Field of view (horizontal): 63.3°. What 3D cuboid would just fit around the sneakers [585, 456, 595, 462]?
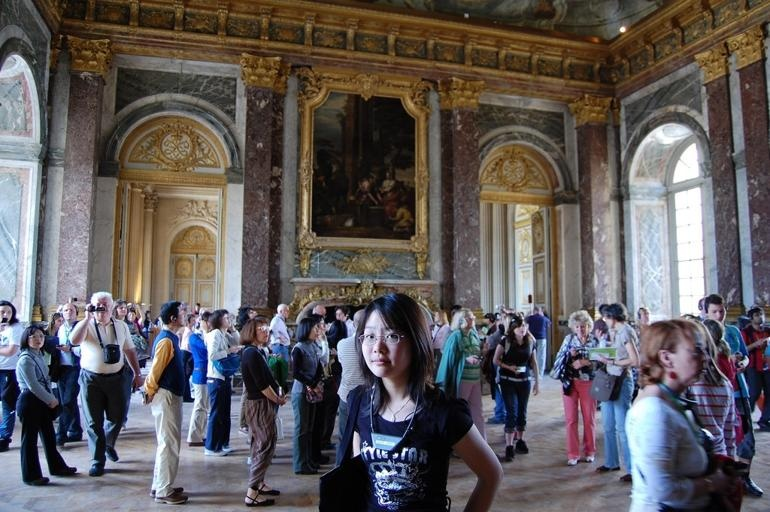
[{"bbox_3d":[3.036,2.999,9.243,0.058,0.069,0.160,-3,-24,11],"label":"sneakers"}]

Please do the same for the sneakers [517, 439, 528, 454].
[{"bbox_3d":[2.106,2.939,9.625,0.125,0.244,0.250,-3,-10,29],"label":"sneakers"}]

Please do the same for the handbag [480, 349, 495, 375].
[{"bbox_3d":[1.741,1.809,10.619,0.164,0.455,0.334,12,-9,-34],"label":"handbag"}]

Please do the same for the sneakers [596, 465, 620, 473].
[{"bbox_3d":[3.205,3.032,8.959,0.315,0.115,0.113,2,0,-4],"label":"sneakers"}]

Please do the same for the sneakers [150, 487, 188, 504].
[{"bbox_3d":[-2.733,3.068,7.993,0.312,0.104,0.230,2,-5,-4],"label":"sneakers"}]

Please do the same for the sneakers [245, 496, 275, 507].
[{"bbox_3d":[-1.585,3.115,7.997,0.399,0.157,0.132,0,-4,-5],"label":"sneakers"}]

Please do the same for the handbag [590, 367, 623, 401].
[{"bbox_3d":[3.060,1.793,8.622,0.381,0.403,0.278,1,2,37],"label":"handbag"}]

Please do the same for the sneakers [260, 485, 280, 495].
[{"bbox_3d":[-1.504,3.055,8.171,0.238,0.094,0.121,3,-3,-7],"label":"sneakers"}]

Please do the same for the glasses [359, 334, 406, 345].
[{"bbox_3d":[-0.018,0.678,5.161,0.352,0.097,0.071,0,2,9],"label":"glasses"}]
